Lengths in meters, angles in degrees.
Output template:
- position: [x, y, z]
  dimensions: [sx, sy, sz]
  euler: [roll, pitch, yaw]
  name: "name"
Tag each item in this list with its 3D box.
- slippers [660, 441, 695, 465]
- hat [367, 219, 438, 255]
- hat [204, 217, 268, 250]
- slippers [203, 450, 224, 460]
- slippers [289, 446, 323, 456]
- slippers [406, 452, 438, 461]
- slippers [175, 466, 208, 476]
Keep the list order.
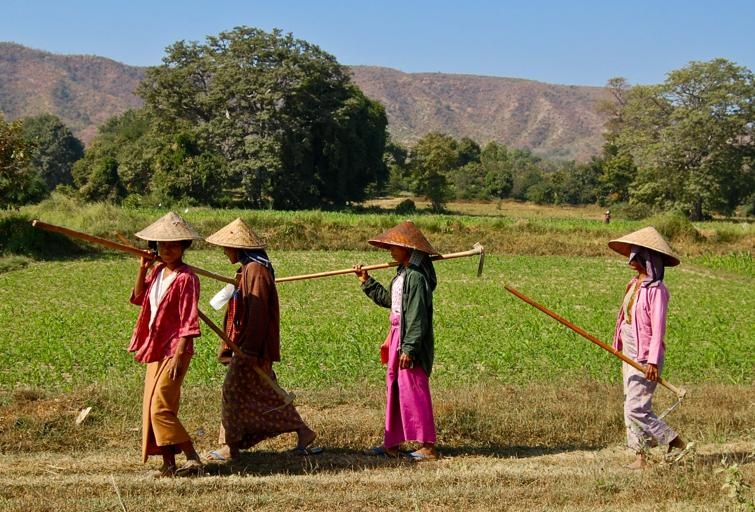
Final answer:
- position: [8.957, 5.914, 31.067]
  dimensions: [0.411, 0.355, 0.578]
  euler: [-40, 4, 0]
  name: "slippers"
- position: [0.840, -0.489, 31.799]
  dimensions: [1.323, 0.573, 1.319]
  euler: [13, -1, 6]
  name: "hat"
- position: [-4.269, -0.557, 31.448]
  dimensions: [1.172, 0.514, 1.198]
  euler: [3, 6, 14]
  name: "hat"
- position: [-4.887, 6.031, 31.382]
  dimensions: [0.479, 0.136, 0.240]
  euler: [8, -5, 10]
  name: "slippers"
- position: [-2.114, 5.938, 31.618]
  dimensions: [0.799, 0.218, 0.324]
  euler: [6, -9, -15]
  name: "slippers"
- position: [1.341, 6.096, 31.502]
  dimensions: [0.847, 0.253, 0.189]
  euler: [-1, 2, 1]
  name: "slippers"
- position: [-5.506, 6.441, 31.202]
  dimensions: [0.998, 0.432, 0.344]
  euler: [5, -4, -7]
  name: "slippers"
